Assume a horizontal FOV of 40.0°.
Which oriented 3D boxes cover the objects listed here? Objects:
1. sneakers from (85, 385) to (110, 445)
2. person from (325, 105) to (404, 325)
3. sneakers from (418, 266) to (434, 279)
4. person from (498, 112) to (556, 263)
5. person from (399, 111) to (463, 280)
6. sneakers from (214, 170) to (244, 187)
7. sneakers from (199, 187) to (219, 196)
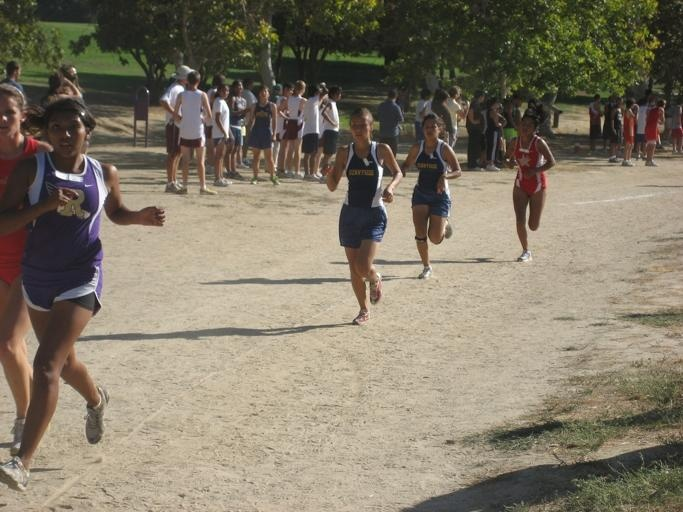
[{"bbox_3d":[-1.981,1.284,7.563,0.176,0.475,0.218,3,8,18],"label":"sneakers"},{"bbox_3d":[0.226,-0.459,10.581,0.755,2.344,0.757,1,15,2],"label":"person"},{"bbox_3d":[1.134,0.226,12.670,0.100,0.108,0.270,-11,15,41],"label":"sneakers"},{"bbox_3d":[2.732,-0.980,13.513,0.568,2.134,0.666,1,15,0],"label":"person"},{"bbox_3d":[1.185,-0.807,12.500,0.717,2.157,0.709,-1,15,-5],"label":"person"},{"bbox_3d":[-2.408,-1.602,19.621,0.237,0.269,0.684,8,14,32],"label":"sneakers"},{"bbox_3d":[-2.546,-1.241,17.997,0.383,0.136,0.135,4,12,-1],"label":"sneakers"}]
